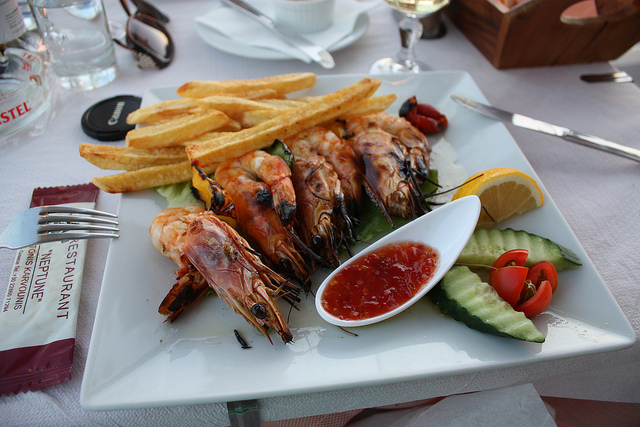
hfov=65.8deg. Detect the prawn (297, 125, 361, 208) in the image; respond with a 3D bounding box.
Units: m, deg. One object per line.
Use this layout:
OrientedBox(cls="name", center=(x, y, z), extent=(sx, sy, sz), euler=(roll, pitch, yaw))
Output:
OrientedBox(cls="prawn", center=(0.083, -0.300, 2.964), extent=(0.266, 0.135, 0.507), euler=(-7, 56, -17))
